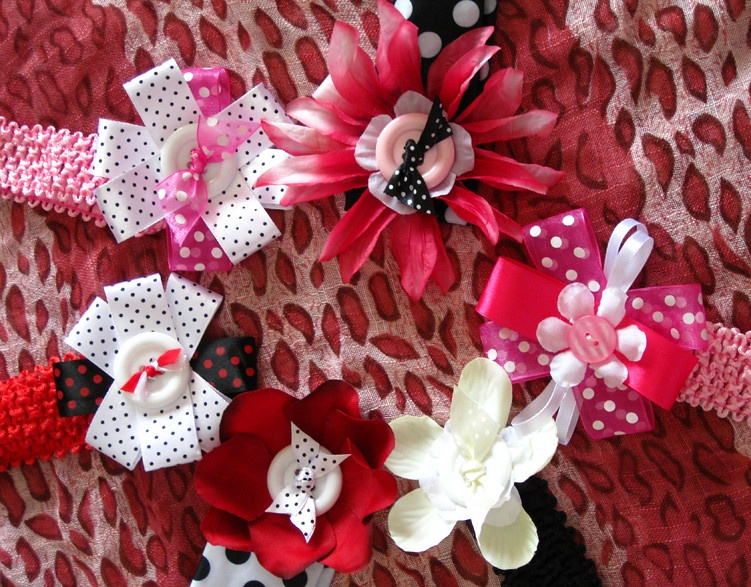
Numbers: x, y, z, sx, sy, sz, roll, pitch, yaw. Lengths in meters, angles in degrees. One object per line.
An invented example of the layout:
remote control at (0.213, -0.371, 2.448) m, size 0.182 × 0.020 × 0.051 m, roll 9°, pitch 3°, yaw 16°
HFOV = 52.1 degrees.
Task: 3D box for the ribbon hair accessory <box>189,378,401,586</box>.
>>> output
ribbon hair accessory at (-0.171, 0.411, 1.690) m, size 0.439 × 0.171 × 0.410 m, roll -7°, pitch 81°, yaw 0°
